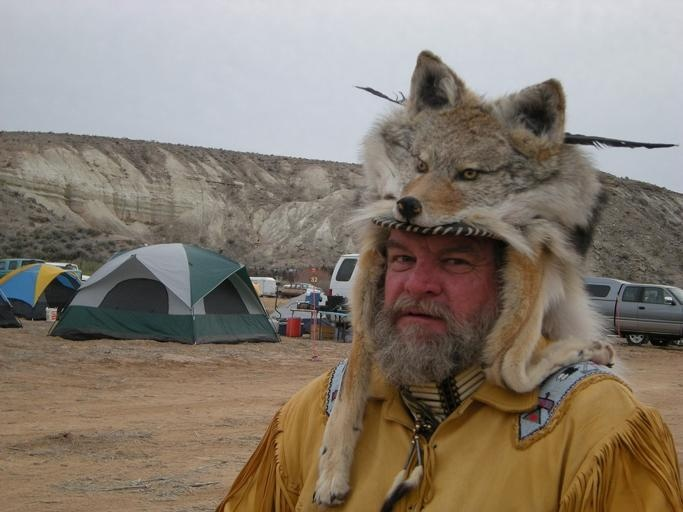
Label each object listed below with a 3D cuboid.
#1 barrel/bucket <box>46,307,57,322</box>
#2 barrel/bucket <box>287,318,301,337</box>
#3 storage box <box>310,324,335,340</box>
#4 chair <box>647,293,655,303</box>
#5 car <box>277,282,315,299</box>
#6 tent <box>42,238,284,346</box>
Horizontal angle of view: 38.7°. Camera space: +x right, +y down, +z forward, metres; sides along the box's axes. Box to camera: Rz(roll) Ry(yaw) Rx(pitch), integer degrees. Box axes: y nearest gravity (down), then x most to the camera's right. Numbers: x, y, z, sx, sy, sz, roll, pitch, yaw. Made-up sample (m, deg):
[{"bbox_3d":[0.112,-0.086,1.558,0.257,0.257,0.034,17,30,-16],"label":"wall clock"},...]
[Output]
[{"bbox_3d":[-7.155,1.406,24.141,0.385,0.391,0.382,0,-2,0],"label":"barrel/bucket"},{"bbox_3d":[-1.076,1.591,21.944,0.375,0.411,0.370,-1,-3,0],"label":"barrel/bucket"},{"bbox_3d":[-0.419,1.671,21.921,0.400,0.243,0.415,-3,-6,32],"label":"storage box"},{"bbox_3d":[7.262,0.968,22.969,0.186,0.177,0.108,-12,-27,44],"label":"chair"},{"bbox_3d":[-2.031,1.440,42.395,1.857,0.639,0.952,-6,-2,33],"label":"car"},{"bbox_3d":[-3.202,0.765,19.053,2.535,1.424,2.561,-2,-9,15],"label":"tent"}]
